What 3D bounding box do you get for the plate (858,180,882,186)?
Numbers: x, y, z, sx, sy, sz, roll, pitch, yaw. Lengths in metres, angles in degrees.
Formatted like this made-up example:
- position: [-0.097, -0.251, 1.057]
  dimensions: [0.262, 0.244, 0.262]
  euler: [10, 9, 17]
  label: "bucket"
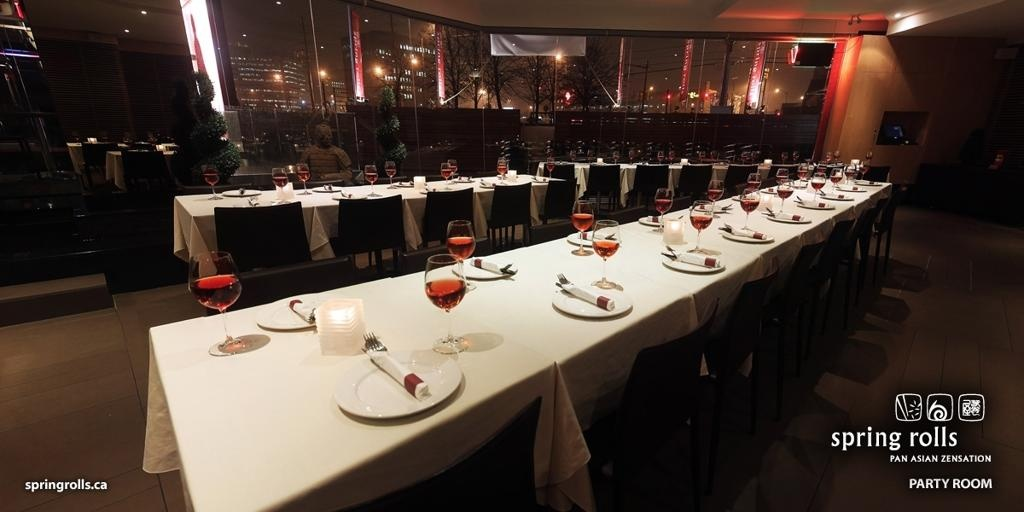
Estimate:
- position: [6.726, -1.376, 10.305]
  dimensions: [0.274, 0.047, 0.350]
  euler: [-1, 11, -13]
  label: "plate"
